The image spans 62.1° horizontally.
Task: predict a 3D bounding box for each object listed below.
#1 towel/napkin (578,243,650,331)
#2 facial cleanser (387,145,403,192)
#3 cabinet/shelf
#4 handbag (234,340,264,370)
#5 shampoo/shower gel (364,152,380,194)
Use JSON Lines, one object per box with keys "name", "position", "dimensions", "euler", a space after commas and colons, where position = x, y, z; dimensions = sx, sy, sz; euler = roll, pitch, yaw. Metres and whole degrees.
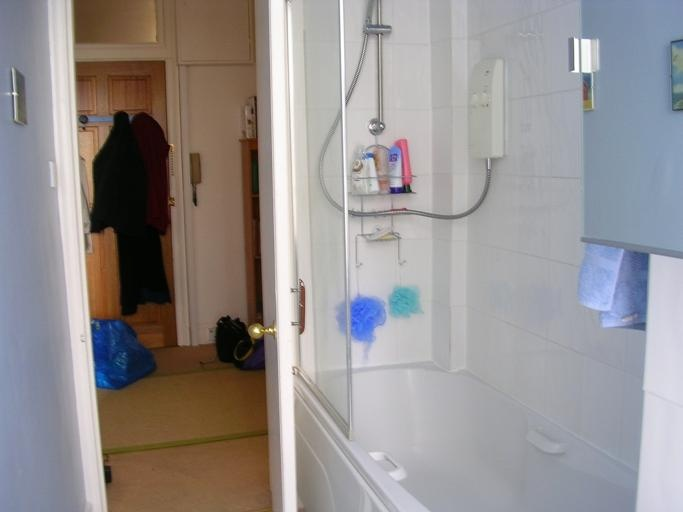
{"name": "towel/napkin", "position": [0.742, 0.080, 1.527], "dimensions": [0.174, 0.219, 0.068], "euler": [0, 11, -1]}
{"name": "facial cleanser", "position": [0.278, -0.445, 2.889], "dimensions": [0.073, 0.236, 0.044], "euler": [1, 11, 6]}
{"name": "cabinet/shelf", "position": [-0.749, -0.192, 4.700], "dimensions": [0.133, 1.537, 0.311], "euler": [-2, 11, -11]}
{"name": "handbag", "position": [-0.689, 0.755, 4.313], "dimensions": [0.216, 0.200, 0.236], "euler": [-6, 13, -28]}
{"name": "shampoo/shower gel", "position": [0.150, -0.421, 2.862], "dimensions": [0.079, 0.200, 0.051], "euler": [-5, 12, -28]}
